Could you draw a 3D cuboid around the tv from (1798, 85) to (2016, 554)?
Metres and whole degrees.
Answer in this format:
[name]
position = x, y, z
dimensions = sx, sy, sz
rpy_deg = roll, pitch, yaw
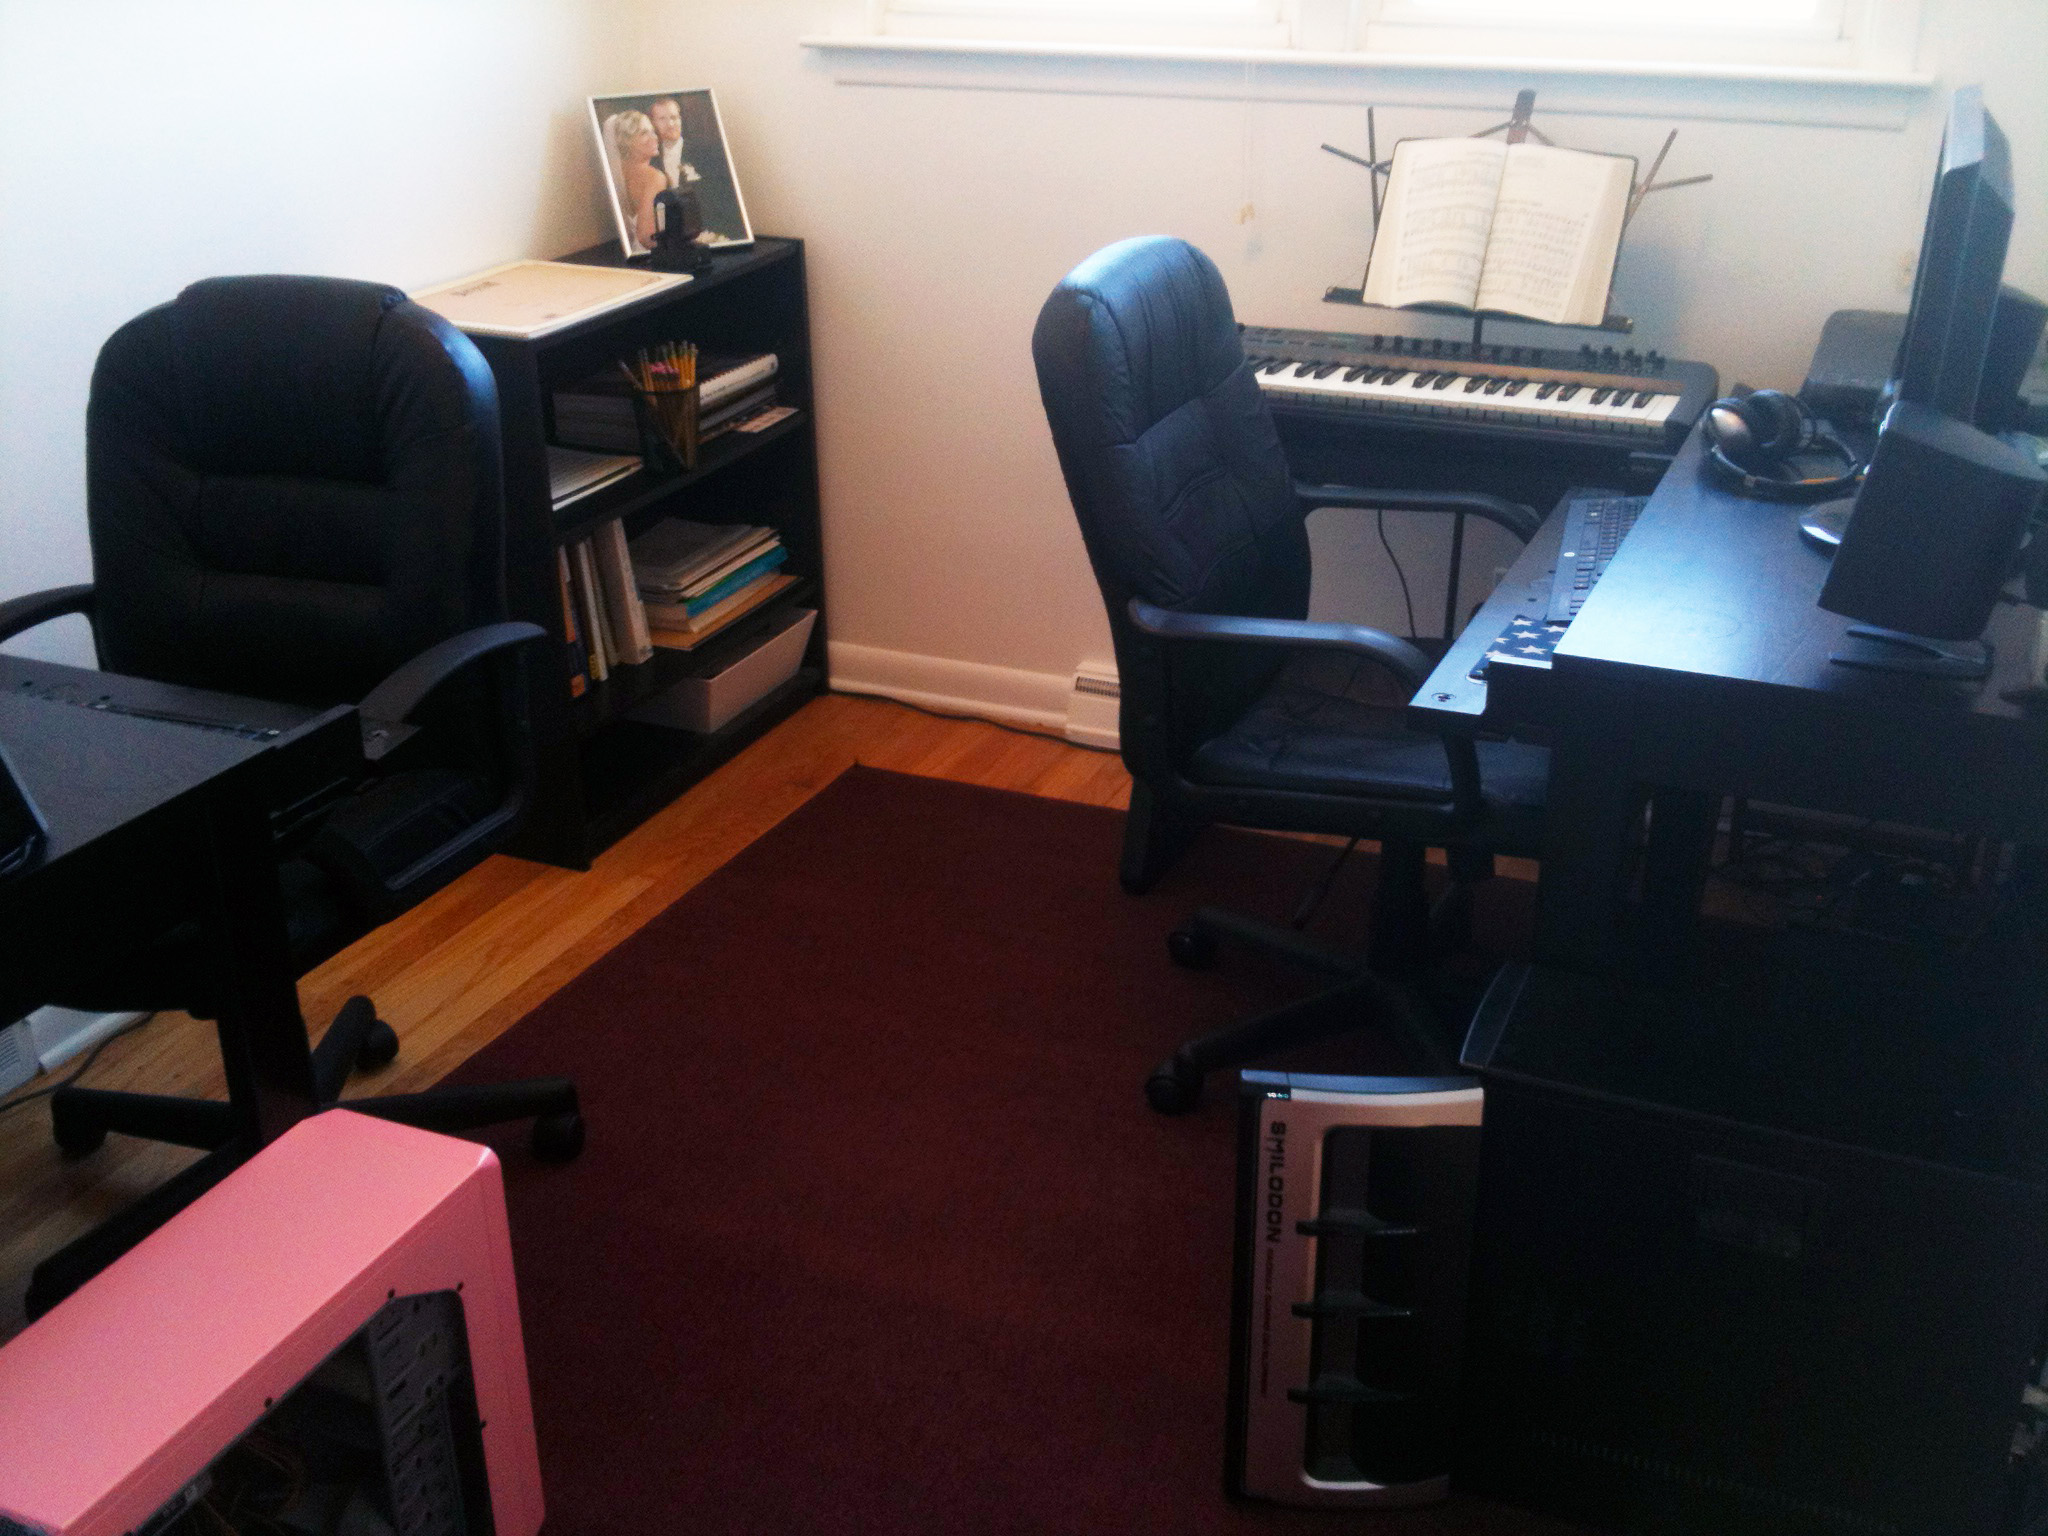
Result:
[tv]
position = 1.265, -0.656, 2.303
dimensions = 0.221, 0.590, 0.672
rpy_deg = 11, 36, 26

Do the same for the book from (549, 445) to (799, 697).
[book]
position = -0.769, -0.454, 3.404
dimensions = 0.330, 0.142, 0.469
rpy_deg = 11, 31, 24

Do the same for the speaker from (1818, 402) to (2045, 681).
[speaker]
position = 1.052, -0.277, 1.851
dimensions = 0.176, 0.215, 0.164
rpy_deg = 24, 35, 35

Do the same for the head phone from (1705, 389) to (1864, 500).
[head phone]
position = 1.097, -0.510, 2.334
dimensions = 0.148, 0.070, 0.218
rpy_deg = 16, 39, 22

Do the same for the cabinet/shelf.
[cabinet/shelf]
position = -0.790, -0.427, 3.072
dimensions = 0.366, 1.061, 0.955
rpy_deg = 9, 30, 18

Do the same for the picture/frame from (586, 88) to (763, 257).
[picture/frame]
position = -0.753, -1.255, 3.400
dimensions = 0.361, 0.365, 0.037
rpy_deg = -18, 9, -38
